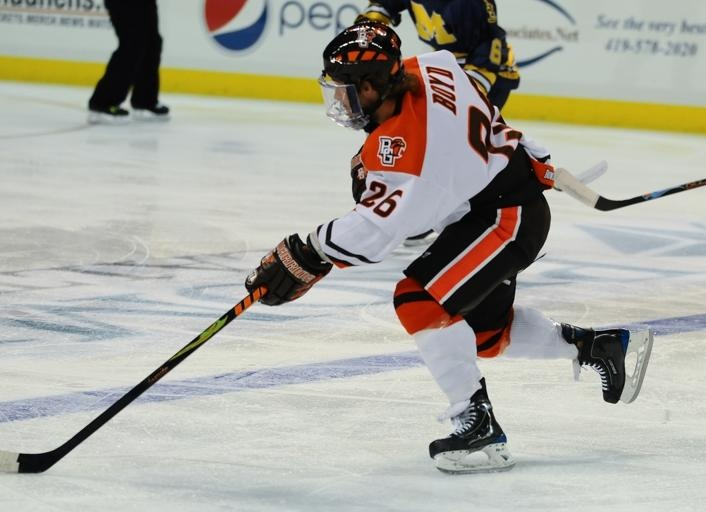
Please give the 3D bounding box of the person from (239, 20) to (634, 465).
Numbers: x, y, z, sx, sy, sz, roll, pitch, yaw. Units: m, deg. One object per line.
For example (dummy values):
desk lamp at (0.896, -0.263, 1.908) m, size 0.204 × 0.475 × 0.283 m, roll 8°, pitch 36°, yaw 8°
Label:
person at (0.316, -0.050, 2.449) m, size 0.903 × 1.229 × 0.702 m, roll 13°, pitch 17°, yaw 28°

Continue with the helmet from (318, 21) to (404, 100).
helmet at (0.031, -0.558, 2.323) m, size 0.310 × 0.160 × 0.186 m, roll 4°, pitch 17°, yaw 1°
